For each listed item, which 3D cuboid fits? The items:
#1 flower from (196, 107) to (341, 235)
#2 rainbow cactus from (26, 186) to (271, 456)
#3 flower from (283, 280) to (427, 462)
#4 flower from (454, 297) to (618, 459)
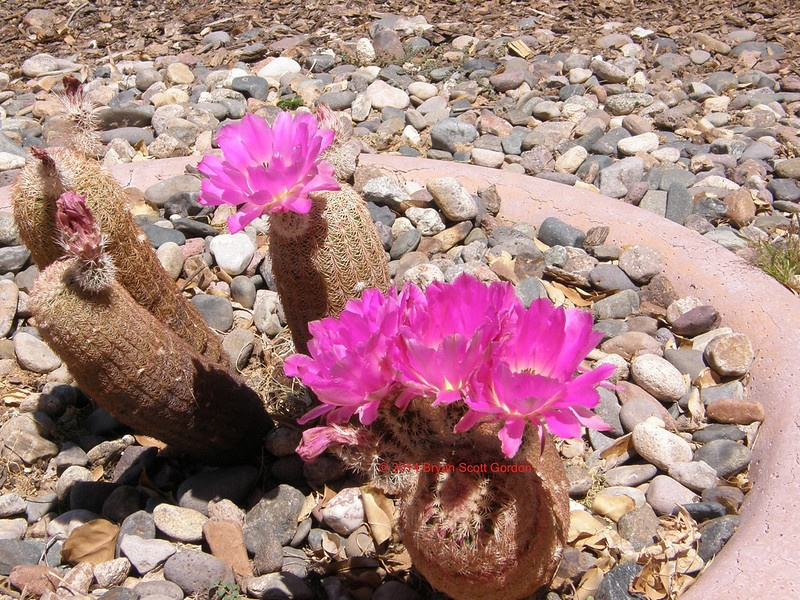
[{"bbox_3d":[-0.480,-0.452,2.266,0.469,0.362,0.383,-13,45,-14],"label":"flower"},{"bbox_3d":[-0.991,0.183,2.451,0.663,1.165,0.392,13,47,11],"label":"rainbow cactus"},{"bbox_3d":[-0.143,0.190,1.981,0.315,0.536,0.517,36,65,-1],"label":"flower"},{"bbox_3d":[0.330,0.201,1.921,0.582,0.565,0.261,9,60,22],"label":"flower"}]
